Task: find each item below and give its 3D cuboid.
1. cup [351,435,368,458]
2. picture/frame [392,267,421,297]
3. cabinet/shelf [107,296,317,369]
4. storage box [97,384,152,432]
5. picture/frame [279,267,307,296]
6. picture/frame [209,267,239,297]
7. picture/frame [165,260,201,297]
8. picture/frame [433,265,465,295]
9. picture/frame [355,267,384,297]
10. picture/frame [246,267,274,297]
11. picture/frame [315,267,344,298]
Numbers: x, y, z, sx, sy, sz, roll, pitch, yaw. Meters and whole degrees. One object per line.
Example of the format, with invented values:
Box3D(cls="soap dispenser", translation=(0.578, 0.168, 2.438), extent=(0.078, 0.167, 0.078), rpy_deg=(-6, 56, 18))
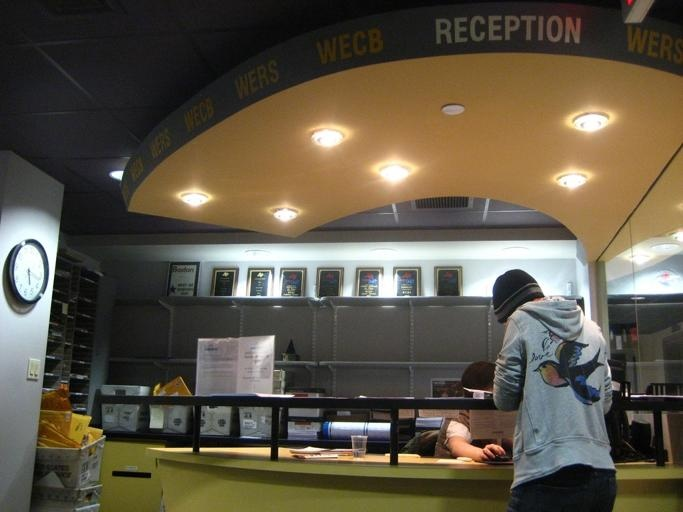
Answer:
Box3D(cls="cup", translation=(0.099, 1.093, 3.045), extent=(0.076, 0.117, 0.125), rpy_deg=(0, -16, -3))
Box3D(cls="picture/frame", translation=(0.895, 0.359, 7.227), extent=(0.424, 0.506, 0.050), rpy_deg=(0, -33, 6))
Box3D(cls="cabinet/shelf", translation=(-1.884, 1.037, 7.468), extent=(2.949, 0.881, 0.265), rpy_deg=(-3, -16, 10))
Box3D(cls="storage box", translation=(-2.696, 1.851, 6.434), extent=(0.591, 0.552, 0.554), rpy_deg=(3, -16, -11))
Box3D(cls="picture/frame", translation=(-0.685, 0.370, 7.438), extent=(0.397, 0.477, 0.046), rpy_deg=(-1, -28, 1))
Box3D(cls="picture/frame", translation=(-1.680, 0.376, 7.594), extent=(0.439, 0.564, 0.055), rpy_deg=(0, -32, 2))
Box3D(cls="picture/frame", translation=(-2.304, 0.334, 7.708), extent=(0.523, 0.634, 0.069), rpy_deg=(-1, -27, 2))
Box3D(cls="picture/frame", translation=(1.462, 0.333, 7.154), extent=(0.404, 0.542, 0.076), rpy_deg=(0, -27, 11))
Box3D(cls="picture/frame", translation=(0.393, 0.364, 7.316), extent=(0.420, 0.485, 0.048), rpy_deg=(0, -30, 8))
Box3D(cls="picture/frame", translation=(-1.149, 0.378, 7.491), extent=(0.396, 0.455, 0.044), rpy_deg=(-1, -19, 7))
Box3D(cls="picture/frame", translation=(-0.164, 0.377, 7.358), extent=(0.411, 0.523, 0.066), rpy_deg=(2, -29, 2))
